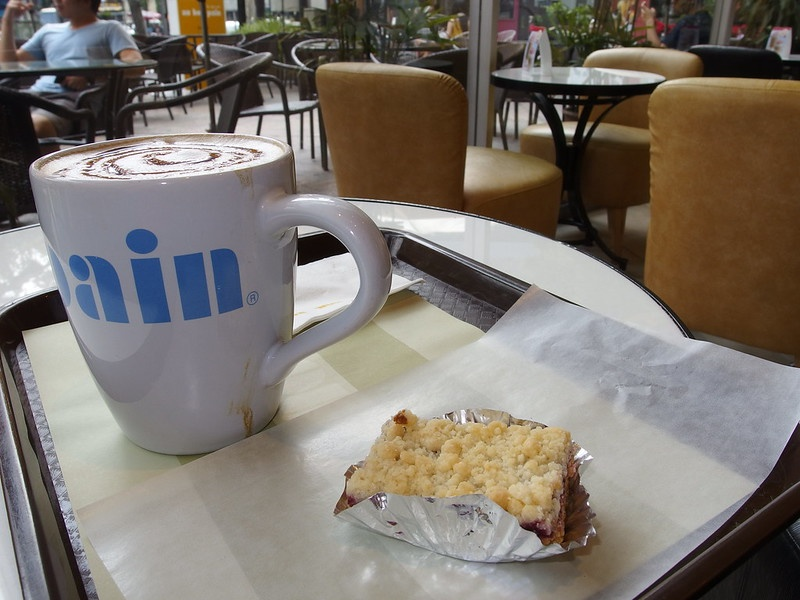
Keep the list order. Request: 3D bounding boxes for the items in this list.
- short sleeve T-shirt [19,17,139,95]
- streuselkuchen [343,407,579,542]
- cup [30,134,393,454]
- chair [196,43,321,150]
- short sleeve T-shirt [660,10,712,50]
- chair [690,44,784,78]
[{"bbox_3d":[-1.343,-0.987,2.504,0.495,0.364,0.258,0,-1,-2],"label":"short sleeve T-shirt"},{"bbox_3d":[0.047,0.108,0.395,0.089,0.032,0.088,2,25,15],"label":"streuselkuchen"},{"bbox_3d":[-0.128,0.002,0.455,0.254,0.213,0.173,9,23,20],"label":"cup"},{"bbox_3d":[-0.586,-0.942,2.895,0.330,0.438,0.260,-8,14,-20],"label":"chair"},{"bbox_3d":[1.927,-1.789,3.970,0.125,0.227,0.672,16,31,36],"label":"short sleeve T-shirt"},{"bbox_3d":[1.625,-1.165,2.940,0.440,0.139,0.228,20,33,40],"label":"chair"}]
